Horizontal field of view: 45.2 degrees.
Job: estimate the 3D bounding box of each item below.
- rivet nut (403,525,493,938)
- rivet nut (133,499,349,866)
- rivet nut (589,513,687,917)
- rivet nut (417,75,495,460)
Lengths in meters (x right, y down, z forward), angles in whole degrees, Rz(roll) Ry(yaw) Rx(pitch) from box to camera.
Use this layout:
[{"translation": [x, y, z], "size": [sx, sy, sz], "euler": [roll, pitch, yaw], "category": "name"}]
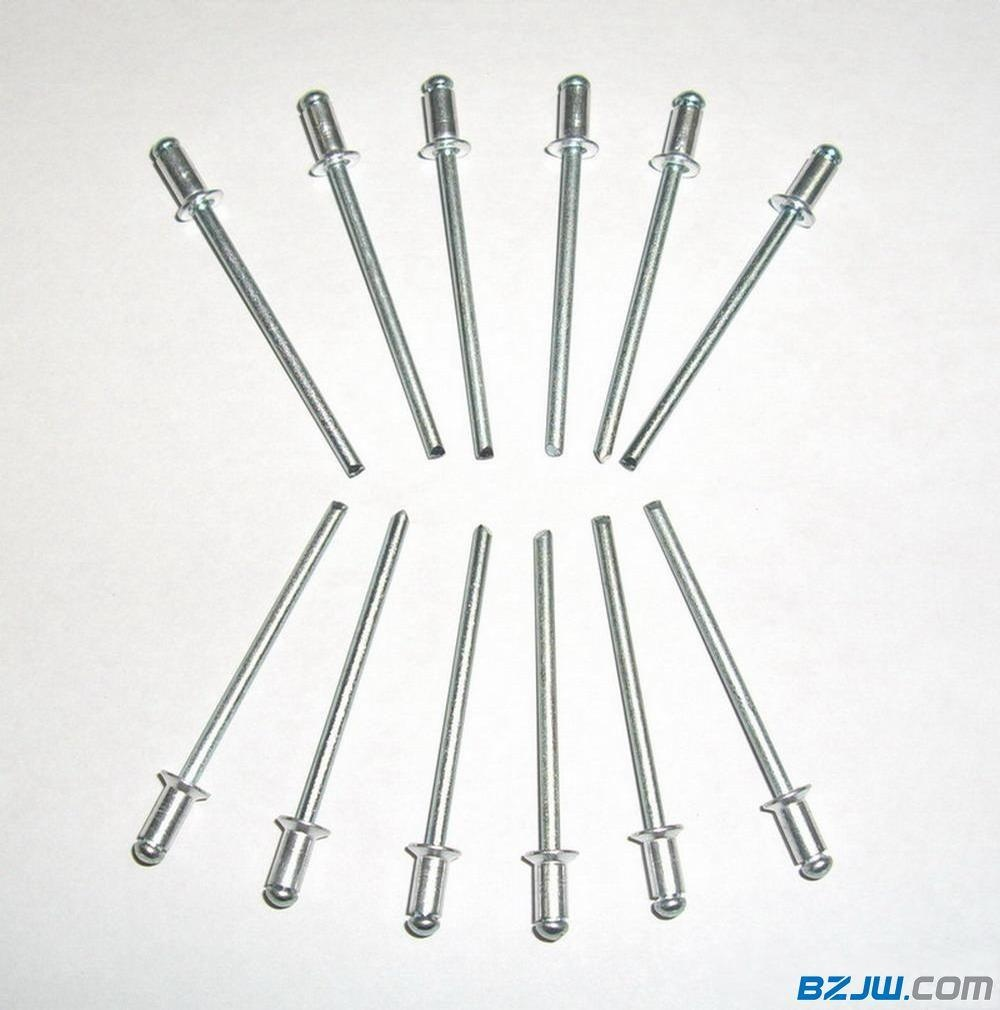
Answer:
[{"translation": [-0.068, 0.405, 2.252], "size": [0.120, 0.753, 0.154], "euler": [3, -16, 3], "category": "rivet nut"}, {"translation": [-0.494, 0.371, 2.292], "size": [0.111, 0.688, 0.109], "euler": [22, -14, -9], "category": "rivet nut"}, {"translation": [0.239, 0.386, 2.310], "size": [0.112, 0.777, 0.111], "euler": [-3, -17, -9], "category": "rivet nut"}, {"translation": [-0.090, -0.471, 2.428], "size": [0.132, 0.800, 0.152], "euler": [-4, -6, -5], "category": "rivet nut"}]
